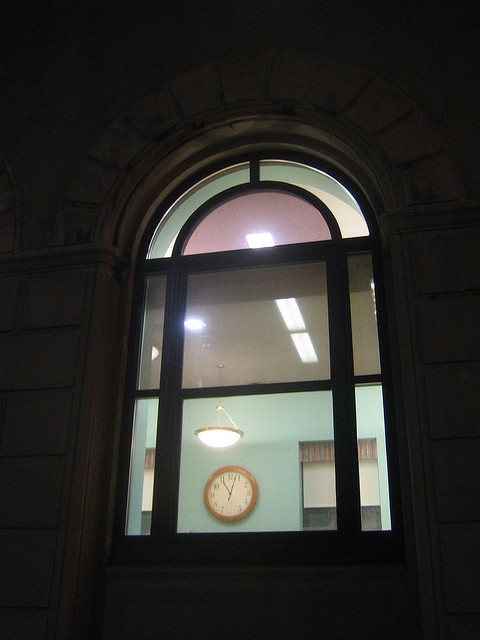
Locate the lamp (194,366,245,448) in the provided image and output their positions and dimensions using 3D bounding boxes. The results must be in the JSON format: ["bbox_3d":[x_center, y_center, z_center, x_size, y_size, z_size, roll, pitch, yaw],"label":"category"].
[{"bbox_3d":[-0.083,0.346,2.192,0.150,0.360,0.155,7,10,32],"label":"lamp"}]

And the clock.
[{"bbox_3d":[-0.035,0.666,2.063,0.209,0.206,0.084,-11,-18,27],"label":"clock"}]
